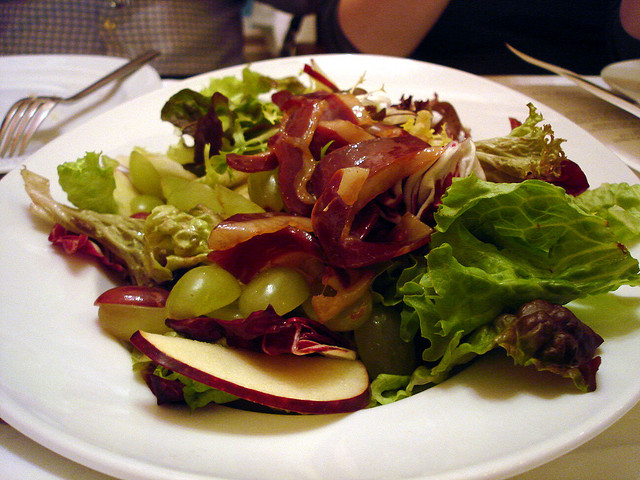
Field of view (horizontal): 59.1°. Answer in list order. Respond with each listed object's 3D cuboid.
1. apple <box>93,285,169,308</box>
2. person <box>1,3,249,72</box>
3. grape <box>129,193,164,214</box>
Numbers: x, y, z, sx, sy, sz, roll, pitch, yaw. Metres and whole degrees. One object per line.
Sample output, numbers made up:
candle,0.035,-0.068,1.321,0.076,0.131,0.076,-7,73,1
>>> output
apple,-0.439,0.131,1.308,0.164,0.031,0.061,3,52,-1
person,-0.954,-1.057,2.934,1.237,0.738,0.136,-4,96,-13
grape,-0.463,-0.095,1.529,0.094,0.048,0.055,-9,26,-8
